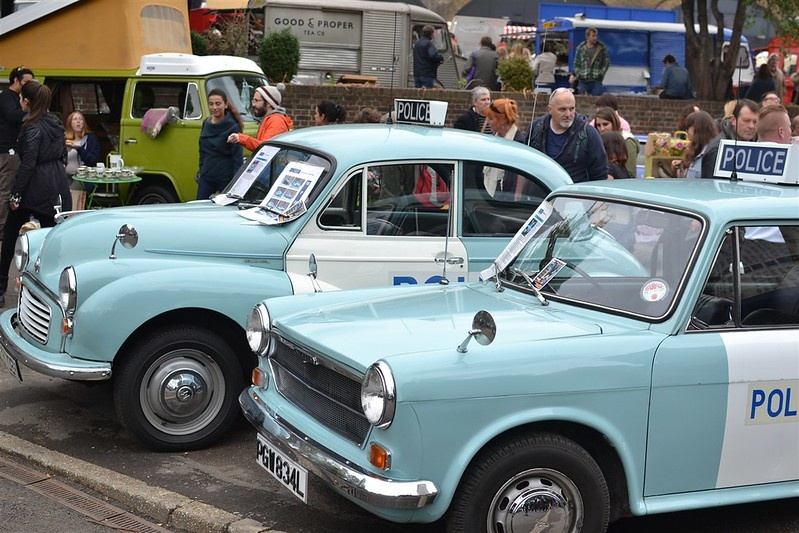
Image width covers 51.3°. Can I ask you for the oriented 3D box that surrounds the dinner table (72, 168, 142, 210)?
[{"bbox_3d":[-4.374,-1.179,12.343,0.754,0.499,0.812,10,17,30],"label":"dinner table"}]

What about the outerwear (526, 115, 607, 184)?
[{"bbox_3d":[1.728,-1.191,8.645,0.732,0.735,0.420,14,17,31],"label":"outerwear"}]

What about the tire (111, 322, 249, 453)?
[{"bbox_3d":[-1.740,0.931,6.581,0.824,1.001,0.347,3,8,-19],"label":"tire"}]

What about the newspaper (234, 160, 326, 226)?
[{"bbox_3d":[-0.988,-0.618,7.151,0.435,0.685,0.536,36,-20,-35],"label":"newspaper"}]

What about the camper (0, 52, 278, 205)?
[{"bbox_3d":[-3.937,-2.443,13.511,3.698,2.711,2.668,1,9,3],"label":"camper"}]
